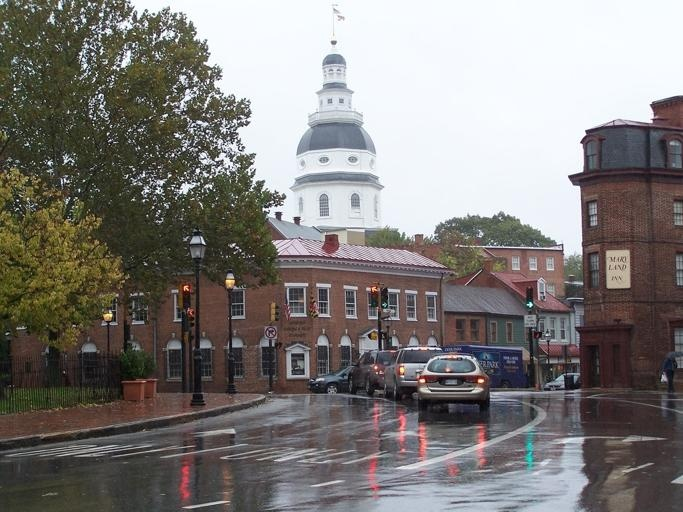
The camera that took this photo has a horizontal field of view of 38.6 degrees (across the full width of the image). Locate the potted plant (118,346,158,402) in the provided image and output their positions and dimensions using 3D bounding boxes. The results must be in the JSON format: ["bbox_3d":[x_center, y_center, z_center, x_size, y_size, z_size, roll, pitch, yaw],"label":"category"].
[{"bbox_3d":[-8.027,4.652,38.169,1.243,2.181,2.898,-1,-10,-8],"label":"potted plant"}]

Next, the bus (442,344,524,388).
[{"bbox_3d":[10.081,7.099,64.502,7.222,3.906,4.064,4,-8,-28],"label":"bus"}]
